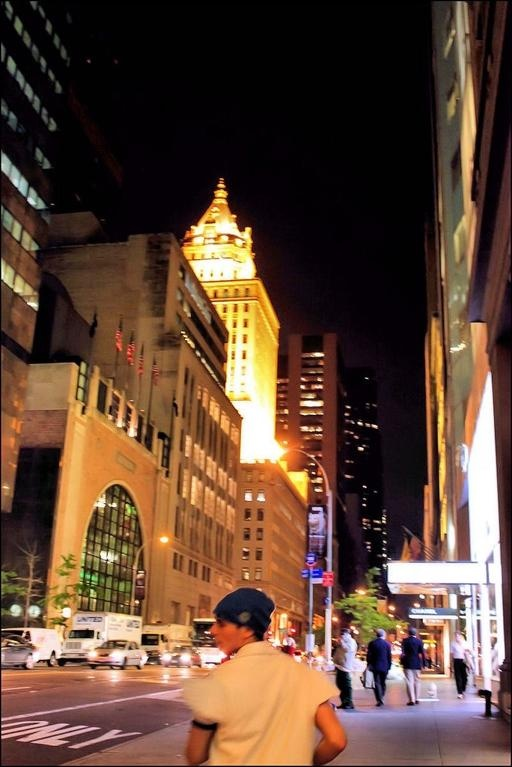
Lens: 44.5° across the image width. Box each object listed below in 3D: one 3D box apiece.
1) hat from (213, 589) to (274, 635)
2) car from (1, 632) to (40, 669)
[{"bbox_3d":[-0.023,0.805,2.171,0.211,0.185,0.168,9,-26,-14],"label":"hat"},{"bbox_3d":[-13.231,15.068,34.917,1.934,1.817,3.693,9,-24,-18],"label":"car"}]
